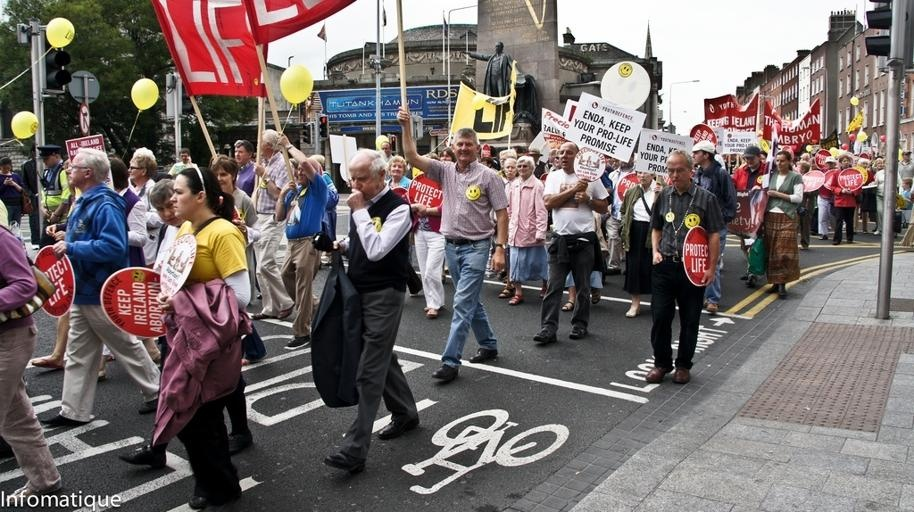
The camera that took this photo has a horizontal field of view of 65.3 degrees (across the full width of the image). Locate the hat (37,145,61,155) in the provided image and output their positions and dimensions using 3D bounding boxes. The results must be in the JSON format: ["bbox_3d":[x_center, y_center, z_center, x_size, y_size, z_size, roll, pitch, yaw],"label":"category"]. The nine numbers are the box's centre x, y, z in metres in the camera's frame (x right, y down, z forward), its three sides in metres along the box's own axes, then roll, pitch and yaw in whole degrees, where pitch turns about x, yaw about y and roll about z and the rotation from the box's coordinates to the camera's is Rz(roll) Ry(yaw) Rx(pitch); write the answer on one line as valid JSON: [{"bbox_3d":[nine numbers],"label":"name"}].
[{"bbox_3d":[-9.753,-2.539,17.075,0.429,0.194,0.486,-1,18,-8],"label":"hat"}]

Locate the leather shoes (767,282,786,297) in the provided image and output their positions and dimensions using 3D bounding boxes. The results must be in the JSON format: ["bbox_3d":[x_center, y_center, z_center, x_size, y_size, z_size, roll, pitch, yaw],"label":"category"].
[{"bbox_3d":[6.331,0.656,14.188,0.137,0.263,0.383,-4,15,-4],"label":"leather shoes"}]

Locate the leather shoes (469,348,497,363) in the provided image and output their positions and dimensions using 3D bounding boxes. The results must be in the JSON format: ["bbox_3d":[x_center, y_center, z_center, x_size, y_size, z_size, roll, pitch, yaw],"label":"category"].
[{"bbox_3d":[0.431,1.518,10.764,0.463,0.198,0.167,2,-4,-32],"label":"leather shoes"}]

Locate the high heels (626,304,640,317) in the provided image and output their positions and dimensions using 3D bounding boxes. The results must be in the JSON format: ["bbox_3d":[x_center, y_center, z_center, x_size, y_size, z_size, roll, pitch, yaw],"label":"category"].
[{"bbox_3d":[3.187,1.023,12.984,0.135,0.199,0.407,-5,-6,36],"label":"high heels"}]

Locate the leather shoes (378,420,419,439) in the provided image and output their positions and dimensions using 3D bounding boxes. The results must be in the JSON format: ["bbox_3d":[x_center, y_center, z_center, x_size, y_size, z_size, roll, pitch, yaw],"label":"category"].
[{"bbox_3d":[-0.722,2.151,8.954,0.530,0.235,0.195,-5,-1,-38],"label":"leather shoes"}]

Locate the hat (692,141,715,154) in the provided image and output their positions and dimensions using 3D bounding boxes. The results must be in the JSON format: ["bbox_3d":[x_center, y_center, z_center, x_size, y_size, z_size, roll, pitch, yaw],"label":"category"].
[{"bbox_3d":[4.385,-1.942,12.688,0.365,0.195,0.256,2,8,9],"label":"hat"}]

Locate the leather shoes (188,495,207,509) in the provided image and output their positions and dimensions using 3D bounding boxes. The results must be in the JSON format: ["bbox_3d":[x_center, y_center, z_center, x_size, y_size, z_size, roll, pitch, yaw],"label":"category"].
[{"bbox_3d":[-2.825,2.701,7.816,0.194,0.080,0.117,11,0,-27],"label":"leather shoes"}]

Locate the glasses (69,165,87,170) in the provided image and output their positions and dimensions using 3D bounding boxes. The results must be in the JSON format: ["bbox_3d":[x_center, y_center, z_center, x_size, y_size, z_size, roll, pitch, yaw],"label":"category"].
[{"bbox_3d":[-4.710,-1.112,8.899,0.206,0.068,0.049,0,10,-1],"label":"glasses"}]
